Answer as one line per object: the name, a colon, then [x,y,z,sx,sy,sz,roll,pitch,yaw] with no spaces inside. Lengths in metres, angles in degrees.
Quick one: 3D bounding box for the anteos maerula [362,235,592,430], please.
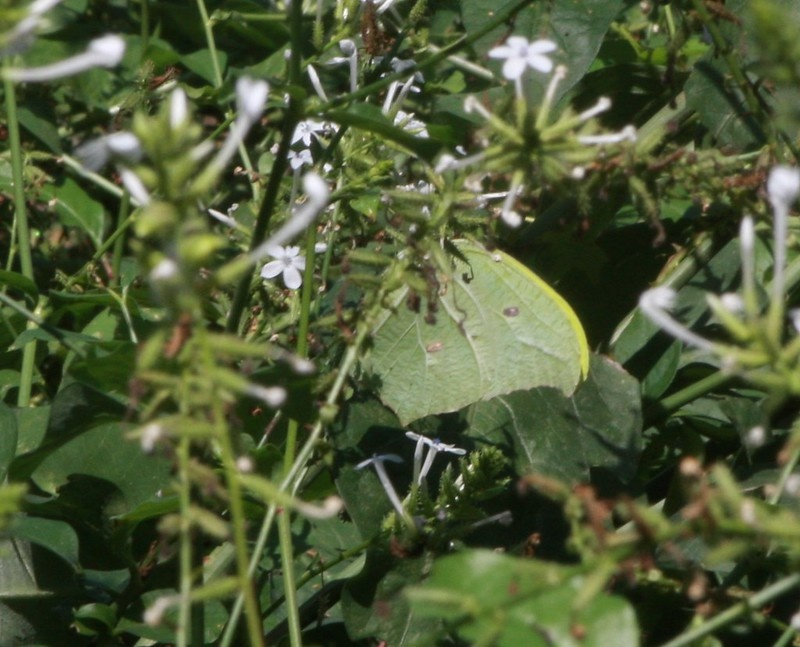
anteos maerula: [0.112,0.035,1.890,0.365,0.140,0.345,-13,46,-40]
